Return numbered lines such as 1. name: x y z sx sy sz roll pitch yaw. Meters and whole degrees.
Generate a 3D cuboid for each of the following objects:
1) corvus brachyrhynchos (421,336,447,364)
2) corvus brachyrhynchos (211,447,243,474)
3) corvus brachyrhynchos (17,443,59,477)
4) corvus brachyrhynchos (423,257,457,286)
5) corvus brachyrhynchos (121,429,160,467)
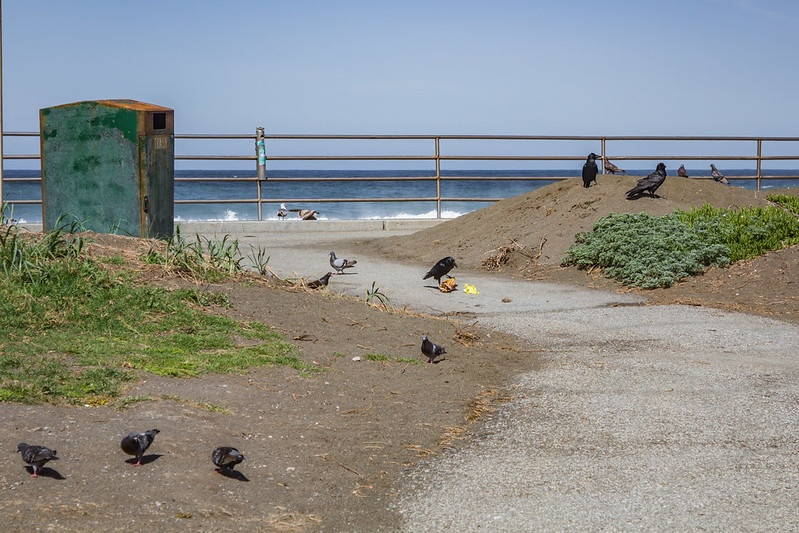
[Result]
1. corvus brachyrhynchos: 0.318 0.735 11.522 0.230 0.236 0.342 2 8 2
2. corvus brachyrhynchos: -1.314 1.448 9.644 0.214 0.083 0.216 24 11 30
3. corvus brachyrhynchos: -2.702 1.417 9.463 0.362 0.227 0.174 -11 -8 22
4. corvus brachyrhynchos: 0.467 0.044 14.362 0.257 0.332 0.318 -3 9 -27
5. corvus brachyrhynchos: -1.961 1.366 9.656 0.334 0.255 0.237 -4 10 -33
